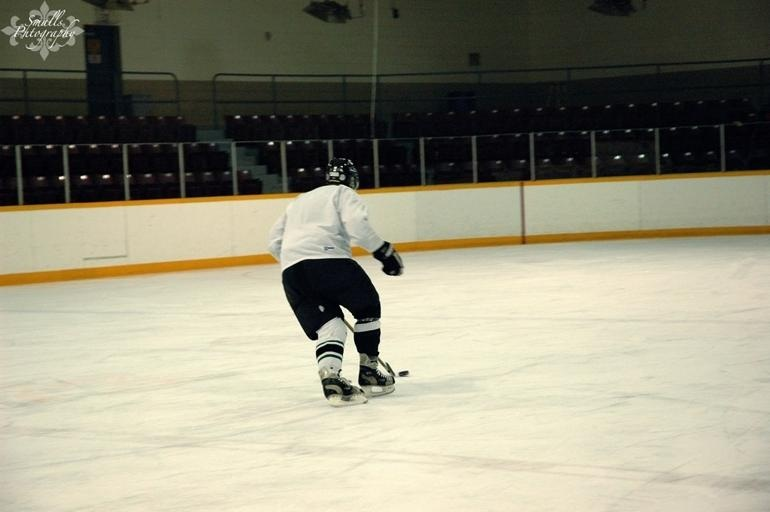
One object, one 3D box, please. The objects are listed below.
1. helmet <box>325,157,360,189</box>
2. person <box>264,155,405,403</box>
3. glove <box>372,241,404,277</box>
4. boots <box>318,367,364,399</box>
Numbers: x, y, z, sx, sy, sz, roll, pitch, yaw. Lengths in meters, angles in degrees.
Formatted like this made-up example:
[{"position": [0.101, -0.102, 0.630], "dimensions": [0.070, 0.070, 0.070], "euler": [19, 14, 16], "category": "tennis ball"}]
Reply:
[{"position": [-0.333, -0.632, 6.094], "dimensions": [0.293, 0.235, 0.243], "euler": [-5, 8, -42], "category": "helmet"}, {"position": [-0.376, 0.273, 5.750], "dimensions": [0.869, 1.526, 0.756], "euler": [3, 16, 17], "category": "person"}, {"position": [0.049, 0.023, 5.887], "dimensions": [0.182, 0.291, 0.123], "euler": [-40, 16, 13], "category": "glove"}, {"position": [-0.378, 0.949, 5.779], "dimensions": [0.184, 0.227, 0.476], "euler": [-3, -11, 11], "category": "boots"}]
